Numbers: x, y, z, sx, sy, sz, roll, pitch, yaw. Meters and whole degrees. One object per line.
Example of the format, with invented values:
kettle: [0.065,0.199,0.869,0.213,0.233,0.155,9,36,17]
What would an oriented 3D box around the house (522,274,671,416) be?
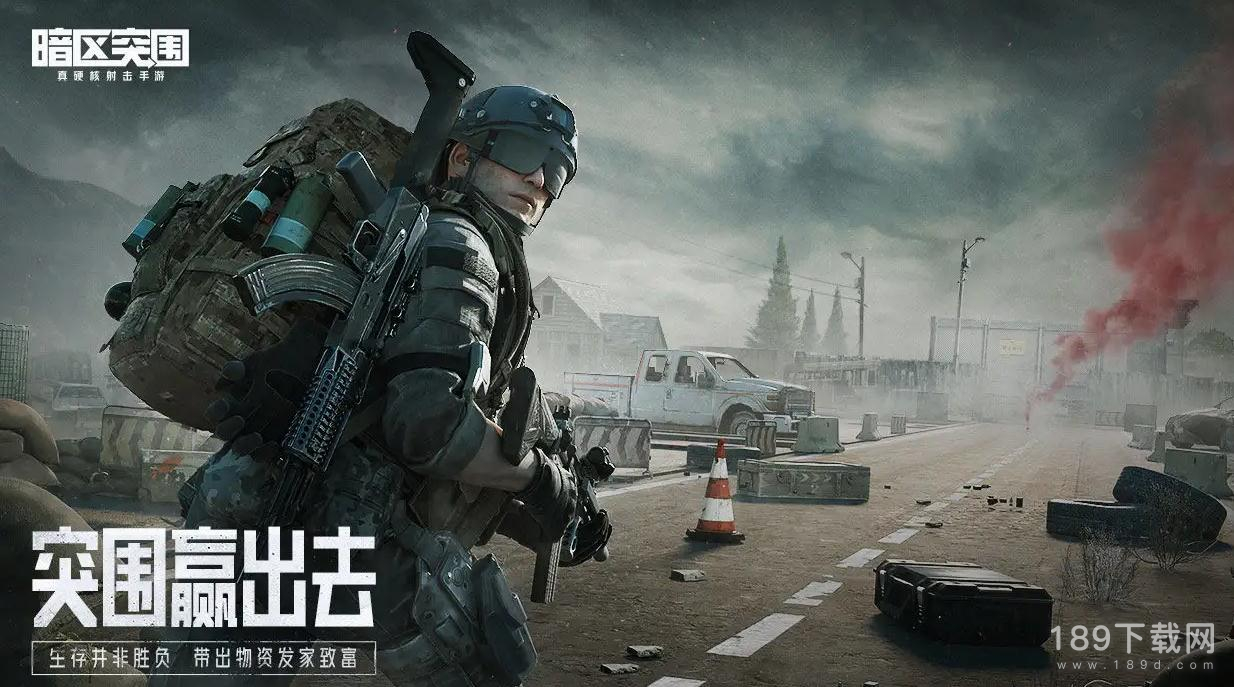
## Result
house: [-1.724,-0.696,47.681,7.475,4.947,7.458,-1,0,13]

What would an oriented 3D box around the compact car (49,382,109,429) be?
compact car: [-16.145,1.776,22.338,1.259,1.309,3.385,5,-3,-36]

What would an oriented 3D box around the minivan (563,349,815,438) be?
minivan: [2.480,1.755,24.272,8.355,2.863,3.265,1,0,24]

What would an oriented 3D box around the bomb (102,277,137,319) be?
bomb: [-3.007,-0.278,4.489,0.101,0.241,0.855,6,-3,-36]
